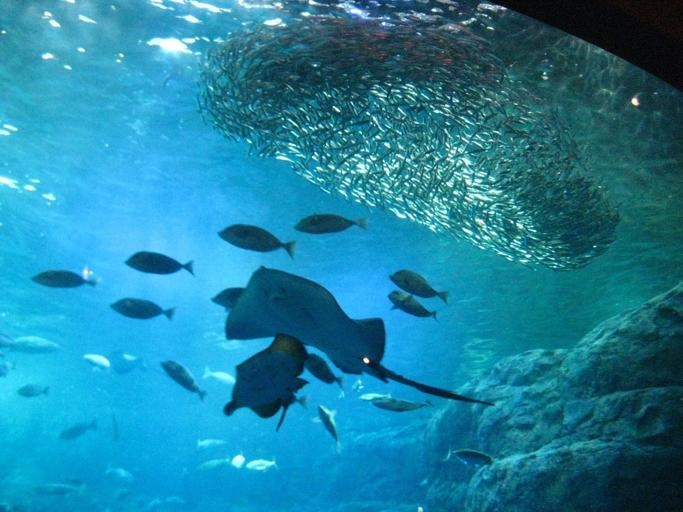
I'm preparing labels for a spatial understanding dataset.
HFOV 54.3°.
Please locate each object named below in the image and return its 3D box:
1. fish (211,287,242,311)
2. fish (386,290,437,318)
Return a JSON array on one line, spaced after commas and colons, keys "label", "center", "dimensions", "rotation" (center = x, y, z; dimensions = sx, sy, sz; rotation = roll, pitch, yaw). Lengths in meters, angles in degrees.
[{"label": "fish", "center": [-3.139, 1.176, 19.056], "dimensions": [0.533, 0.358, 1.435], "rotation": [9, -15, -43]}, {"label": "fish", "center": [2.195, 1.524, 20.616], "dimensions": [1.564, 0.502, 0.759], "rotation": [19, -33, -1]}]
